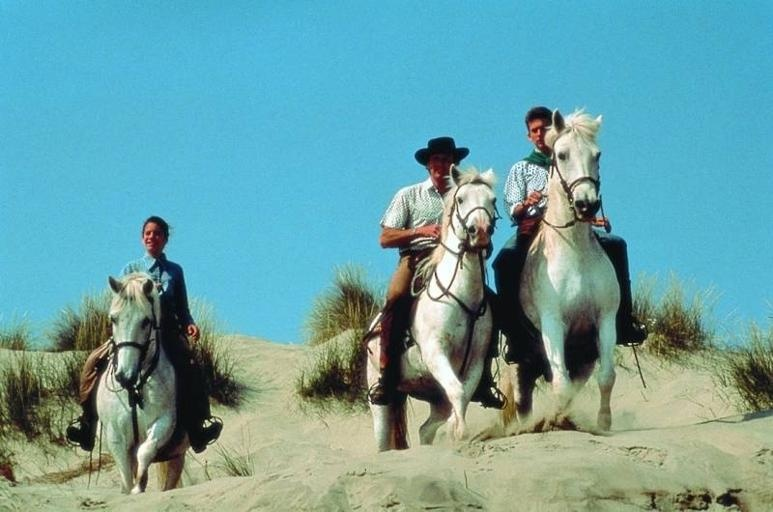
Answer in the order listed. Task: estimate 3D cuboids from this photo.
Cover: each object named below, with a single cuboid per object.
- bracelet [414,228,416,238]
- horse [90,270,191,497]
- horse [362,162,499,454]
[{"bbox_3d":[0.456,-0.306,19.176,0.021,0.115,0.057,-2,14,6],"label":"bracelet"},{"bbox_3d":[-3.819,2.102,18.903,1.266,3.478,1.229,-3,6,-22],"label":"horse"},{"bbox_3d":[0.990,0.852,18.523,1.402,4.245,1.351,0,5,6],"label":"horse"}]
